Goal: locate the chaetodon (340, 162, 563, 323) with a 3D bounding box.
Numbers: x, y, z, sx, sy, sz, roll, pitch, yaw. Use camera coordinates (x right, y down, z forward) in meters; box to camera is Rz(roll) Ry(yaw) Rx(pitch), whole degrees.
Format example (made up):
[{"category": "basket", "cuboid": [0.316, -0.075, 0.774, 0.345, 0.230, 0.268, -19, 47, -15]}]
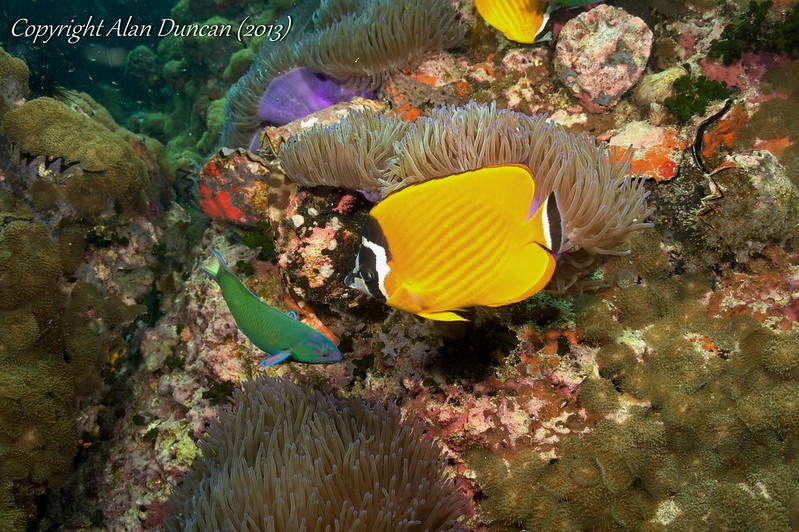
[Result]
[{"category": "chaetodon", "cuboid": [0.568, -0.226, 7.929, 2.274, 0.464, 1.632, -12, -59, 4]}]
